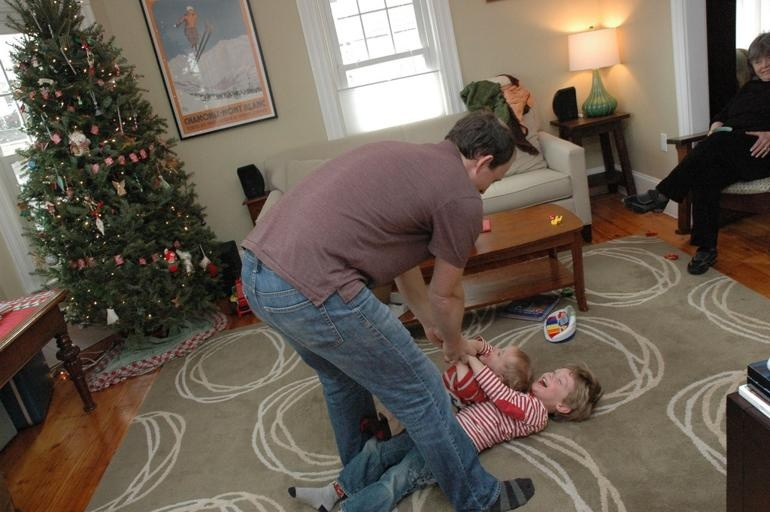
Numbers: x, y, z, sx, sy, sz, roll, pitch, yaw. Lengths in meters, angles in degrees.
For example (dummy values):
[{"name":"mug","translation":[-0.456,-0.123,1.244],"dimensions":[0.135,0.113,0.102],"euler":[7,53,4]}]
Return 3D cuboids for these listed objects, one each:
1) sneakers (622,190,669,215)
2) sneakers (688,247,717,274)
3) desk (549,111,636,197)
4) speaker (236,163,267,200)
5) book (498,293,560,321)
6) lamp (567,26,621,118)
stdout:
[{"name":"sneakers","translation":[2.089,-0.439,4.348],"dimensions":[0.302,0.155,0.175],"euler":[9,24,17]},{"name":"sneakers","translation":[2.300,0.038,3.918],"dimensions":[0.303,0.127,0.112],"euler":[-40,40,-24]},{"name":"desk","translation":[2.207,-0.985,5.410],"dimensions":[0.696,0.804,0.734],"euler":[-4,14,12]},{"name":"speaker","translation":[-1.261,-0.728,5.151],"dimensions":[0.217,0.388,0.207],"euler":[-23,26,-2]},{"name":"book","translation":[1.060,0.354,3.859],"dimensions":[0.233,0.058,0.240],"euler":[4,25,35]},{"name":"lamp","translation":[2.024,-1.767,5.206],"dimensions":[0.463,0.791,0.363],"euler":[-3,23,22]}]
